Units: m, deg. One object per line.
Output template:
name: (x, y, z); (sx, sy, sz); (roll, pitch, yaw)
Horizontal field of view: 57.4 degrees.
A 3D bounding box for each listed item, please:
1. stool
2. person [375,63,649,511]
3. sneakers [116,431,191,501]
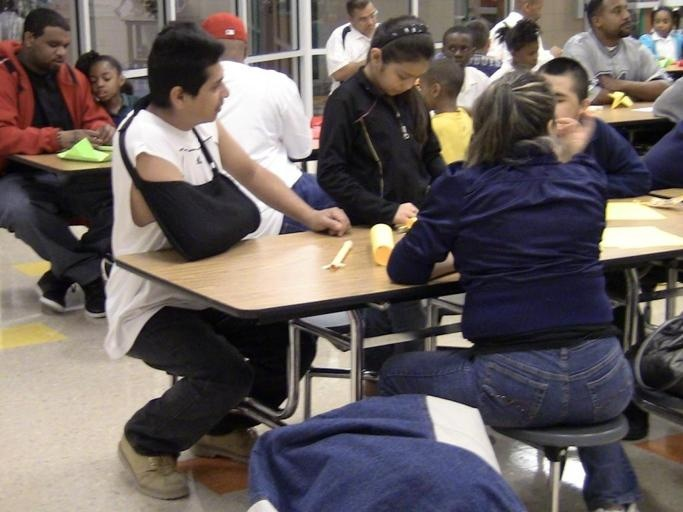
stool: (0.591, 0.594, 1.789); (0.309, 0.312, 0.306); (0, 16, 3)
person: (0.482, -0.005, 1.707); (0.619, 0.951, 0.476); (-10, 23, -22)
sneakers: (-0.660, 0.797, 2.330); (0.325, 0.141, 0.137); (33, 19, 15)
